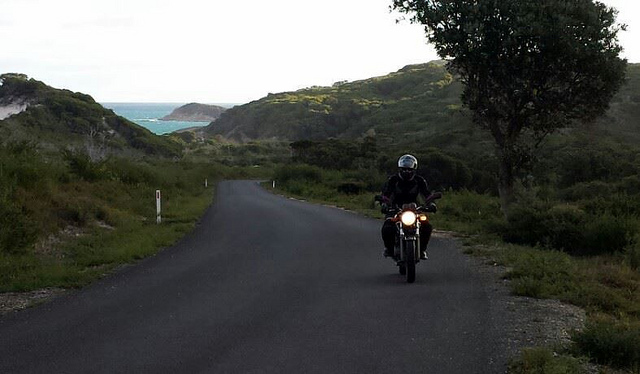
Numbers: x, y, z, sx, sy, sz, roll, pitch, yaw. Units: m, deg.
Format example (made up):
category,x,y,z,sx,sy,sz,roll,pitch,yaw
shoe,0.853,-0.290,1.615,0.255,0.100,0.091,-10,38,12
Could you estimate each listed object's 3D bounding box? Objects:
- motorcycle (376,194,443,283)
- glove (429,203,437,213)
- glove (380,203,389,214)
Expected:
category,x,y,z,sx,sy,sz,roll,pitch,yaw
motorcycle,2.873,1.712,17.821,1.773,2.768,1.361,0,13,4
glove,3.931,0.719,18.086,0.212,0.279,0.284,-6,-20,-2
glove,2.231,0.693,18.299,0.200,0.385,0.545,-3,13,-12
